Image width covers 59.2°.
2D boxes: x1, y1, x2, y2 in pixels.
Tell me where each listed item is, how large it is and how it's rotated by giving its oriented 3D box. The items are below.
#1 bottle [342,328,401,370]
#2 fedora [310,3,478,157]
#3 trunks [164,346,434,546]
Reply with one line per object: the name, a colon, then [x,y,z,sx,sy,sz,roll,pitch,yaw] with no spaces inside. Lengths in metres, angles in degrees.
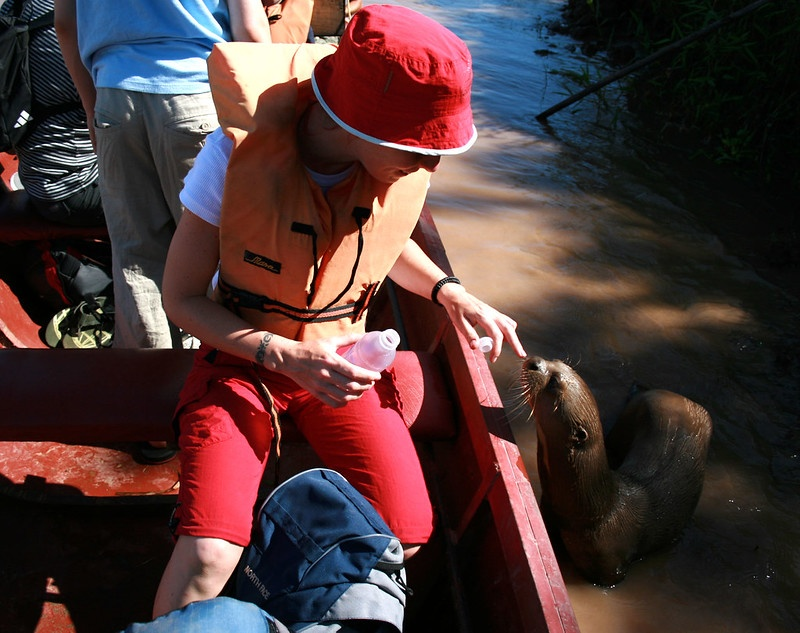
bottle: [-0.110,0.117,2.451,0.085,0.200,0.088,16,62,-32]
fedora: [0.003,-0.709,2.369,0.517,0.455,0.489,40,38,20]
trunks: [-0.401,0.452,2.641,0.967,0.284,0.899,3,29,-23]
